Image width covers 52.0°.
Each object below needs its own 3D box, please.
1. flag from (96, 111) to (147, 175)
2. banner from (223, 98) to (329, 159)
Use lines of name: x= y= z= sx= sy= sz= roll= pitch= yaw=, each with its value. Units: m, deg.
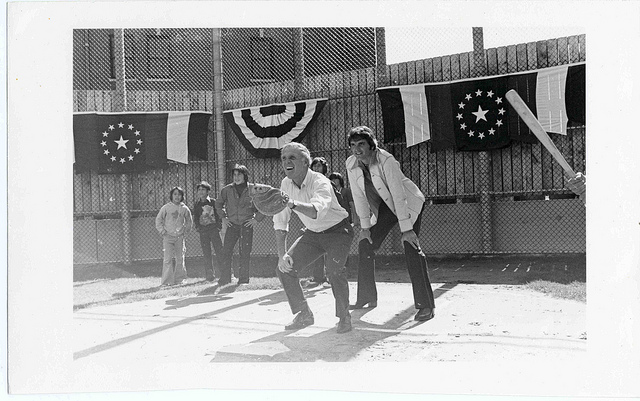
flag: x=-4.972 y=-1.509 z=16.368 sx=1.440 sy=1.933 sz=0.204 roll=0 pitch=2 yaw=-3
banner: x=-1.111 y=-1.754 z=16.036 sx=2.309 sy=1.349 sz=0.554 roll=2 pitch=14 yaw=18
